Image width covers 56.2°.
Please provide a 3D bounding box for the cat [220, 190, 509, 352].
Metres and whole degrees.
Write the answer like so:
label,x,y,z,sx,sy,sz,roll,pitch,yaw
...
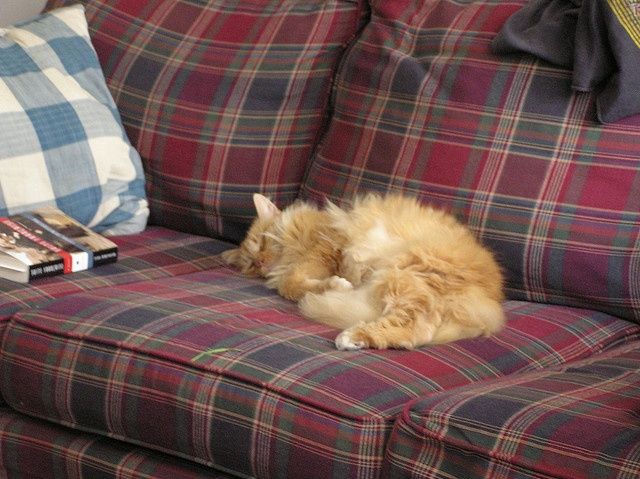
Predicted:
label,x,y,z,sx,sy,sz,roll,pitch,yaw
cat,0.165,0.076,1.621,0.792,0.182,0.432,6,8,13
